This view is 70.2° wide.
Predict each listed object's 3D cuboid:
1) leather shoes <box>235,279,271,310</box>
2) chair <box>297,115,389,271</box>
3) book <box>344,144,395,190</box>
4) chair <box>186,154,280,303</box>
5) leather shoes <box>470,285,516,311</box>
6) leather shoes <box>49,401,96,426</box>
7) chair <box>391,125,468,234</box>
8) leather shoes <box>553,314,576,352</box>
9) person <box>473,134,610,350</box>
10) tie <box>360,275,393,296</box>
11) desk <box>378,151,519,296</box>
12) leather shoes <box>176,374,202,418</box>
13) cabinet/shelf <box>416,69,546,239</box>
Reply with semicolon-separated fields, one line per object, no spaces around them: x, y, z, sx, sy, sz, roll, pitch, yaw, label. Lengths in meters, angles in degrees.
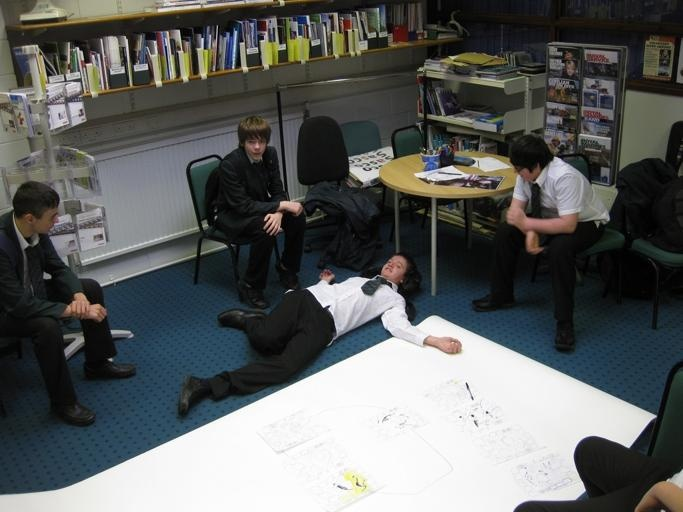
-0.716;0.312;3.941;0.337;0.144;0.147;38;44;23;leather shoes
-0.038;-0.581;4.458;0.764;1.327;0.788;-17;24;-37;chair
0.255;-0.844;4.656;0.419;0.101;0.418;-21;41;-25;book
-0.889;-0.239;4.017;0.730;1.280;0.692;17;30;28;chair
1.135;0.294;3.752;0.354;0.268;0.144;-1;36;5;leather shoes
-1.570;0.936;2.862;0.258;0.118;0.125;14;27;11;leather shoes
0.859;-0.800;4.579;0.512;0.871;0.563;-21;10;-27;chair
1.513;0.531;3.304;0.092;0.114;0.285;1;21;16;leather shoes
1.404;-0.166;3.446;0.959;1.285;1.034;-4;19;13;person
0.236;0.204;3.460;0.142;0.047;0.140;-26;46;-33;tie
0.840;-0.133;4.170;1.110;0.858;1.177;7;31;14;desk
-0.910;0.837;2.924;0.186;0.163;0.149;-14;24;-22;leather shoes
1.245;-0.898;4.263;0.655;1.310;1.273;-14;25;-32;cabinet/shelf
